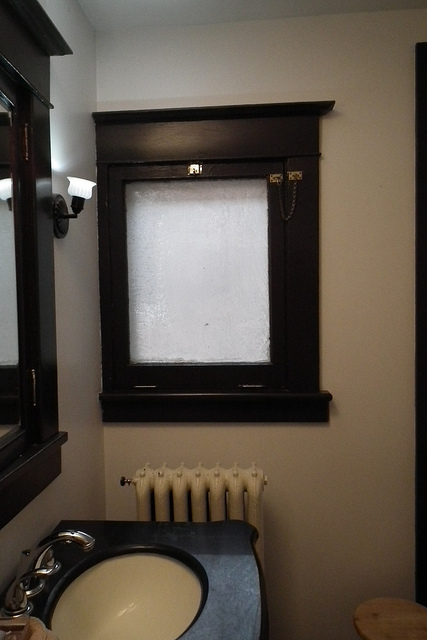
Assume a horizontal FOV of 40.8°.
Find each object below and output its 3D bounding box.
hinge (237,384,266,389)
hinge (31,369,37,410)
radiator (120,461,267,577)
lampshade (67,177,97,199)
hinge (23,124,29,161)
[{"bbox_3d":[0.138,0.241,2.066,0.100,0.015,0.013,4,10,4],"label":"hinge"},{"bbox_3d":[-0.470,0.183,1.494,0.008,0.103,0.012,-1,9,-19],"label":"hinge"},{"bbox_3d":[-0.050,0.581,1.657,0.357,0.489,0.090,-1,0,0],"label":"radiator"},{"bbox_3d":[-0.369,-0.372,1.623,0.055,0.044,0.062,15,17,-26],"label":"lampshade"},{"bbox_3d":[-0.479,-0.452,1.453,0.012,0.086,0.009,-1,9,-22],"label":"hinge"}]
